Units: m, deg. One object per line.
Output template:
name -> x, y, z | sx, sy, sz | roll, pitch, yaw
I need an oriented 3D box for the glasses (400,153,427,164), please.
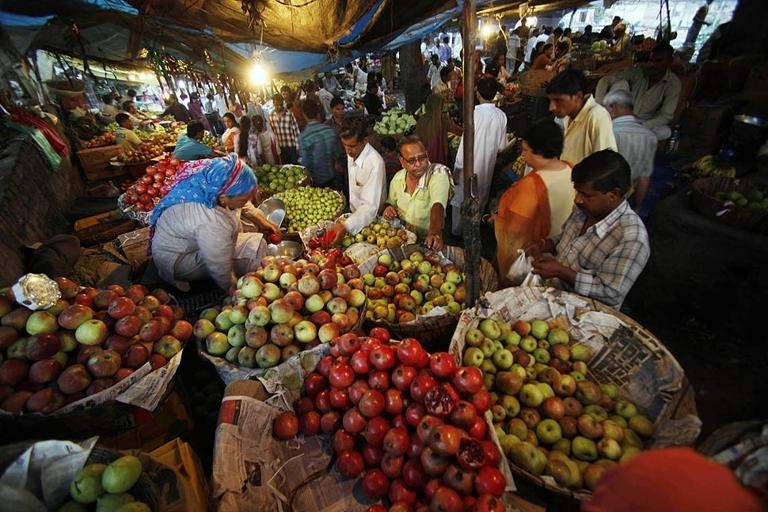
glasses -> 0.409, -1.331, 5.502 | 0.329, 0.144, 0.132 | 0, 27, 1

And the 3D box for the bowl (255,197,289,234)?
bowl -> -1.739, -0.646, 6.322 | 0.419, 0.470, 0.171 | -4, 8, 38

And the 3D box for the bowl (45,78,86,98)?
bowl -> -8.213, -4.396, 10.559 | 0.928, 0.411, 0.557 | 5, 28, 10
